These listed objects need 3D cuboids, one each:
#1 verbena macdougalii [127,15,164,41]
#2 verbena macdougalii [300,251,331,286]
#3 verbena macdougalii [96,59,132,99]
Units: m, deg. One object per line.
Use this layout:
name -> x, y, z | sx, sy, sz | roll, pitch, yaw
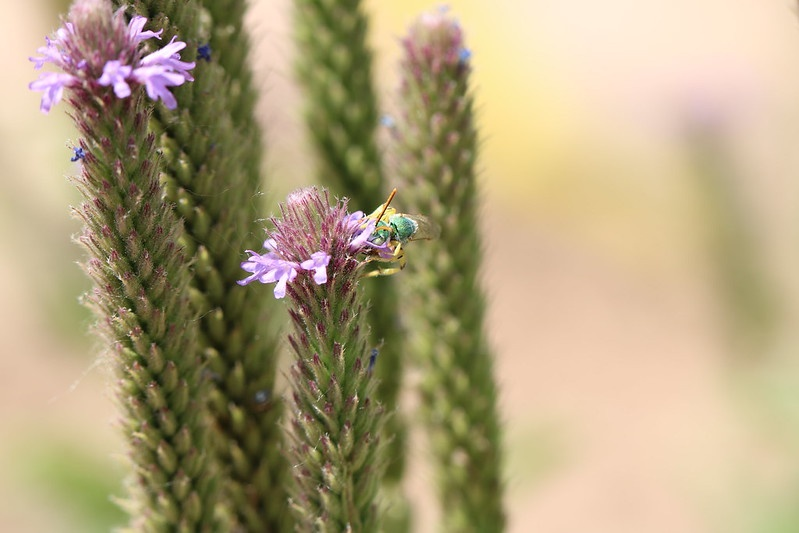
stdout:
verbena macdougalii -> -1.580, -1.483, 6.448 | 0.178, 0.188, 0.090 | -8, 39, 9
verbena macdougalii -> -0.523, 0.013, 6.405 | 0.184, 0.195, 0.107 | -7, 2, -5
verbena macdougalii -> -1.741, -1.144, 6.361 | 0.212, 0.236, 0.183 | -6, 2, 2
